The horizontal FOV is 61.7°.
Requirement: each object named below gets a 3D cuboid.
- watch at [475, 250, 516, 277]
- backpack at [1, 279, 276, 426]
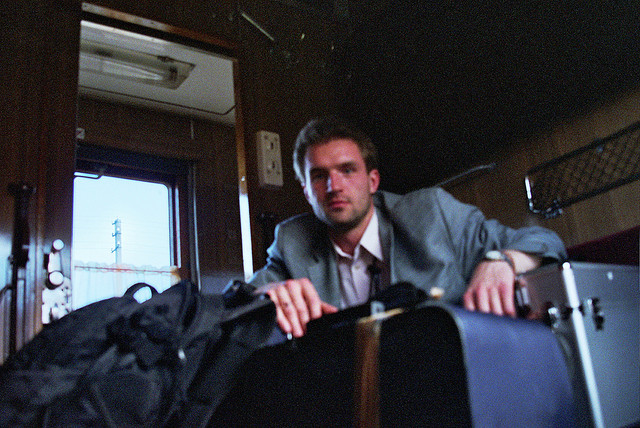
[{"bbox_3d":[0.383,0.098,1.130,0.058,0.030,0.092,-17,17,-37],"label":"watch"},{"bbox_3d":[-0.339,0.267,1.006,0.377,0.165,0.282,-1,16,0],"label":"backpack"}]
